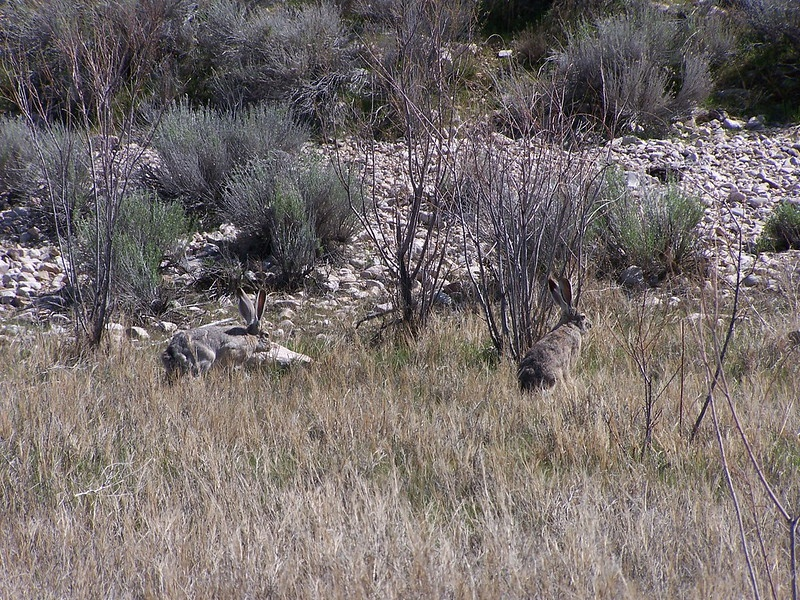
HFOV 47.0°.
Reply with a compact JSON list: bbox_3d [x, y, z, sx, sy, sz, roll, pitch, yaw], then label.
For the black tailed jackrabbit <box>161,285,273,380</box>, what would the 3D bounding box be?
[{"bbox_3d":[-1.505,0.209,7.599,0.988,1.163,0.458,-2,11,-35],"label":"black tailed jackrabbit"}]
